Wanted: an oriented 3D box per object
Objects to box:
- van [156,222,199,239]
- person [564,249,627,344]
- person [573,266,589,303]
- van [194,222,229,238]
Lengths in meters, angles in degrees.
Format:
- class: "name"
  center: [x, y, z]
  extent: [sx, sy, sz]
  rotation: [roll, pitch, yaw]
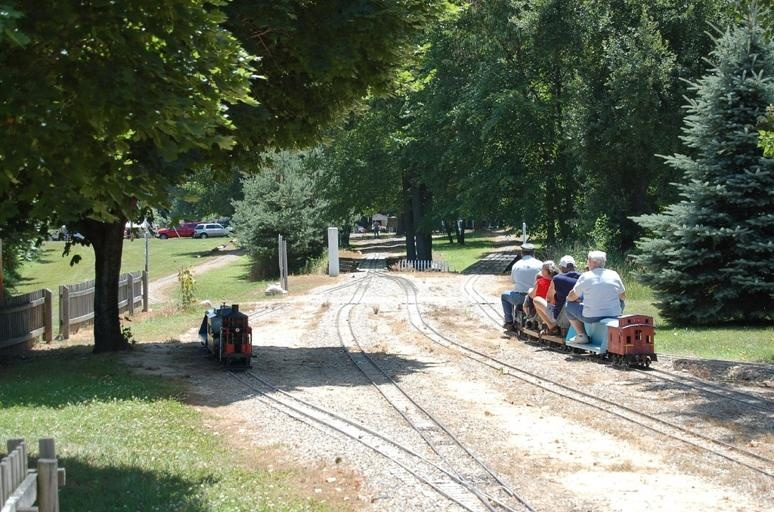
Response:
- class: "van"
  center: [-23.315, -2.965, 103.097]
  extent: [3.971, 1.517, 4.482]
  rotation: [-2, 7, -25]
- class: "person"
  center: [5.413, 1.140, 24.130]
  extent: [1.439, 2.545, 1.093]
  rotation: [4, 7, 23]
- class: "person"
  center: [5.118, 0.743, 24.364]
  extent: [0.596, 0.922, 0.306]
  rotation: [-2, -7, -22]
- class: "van"
  center: [-18.774, -2.843, 99.561]
  extent: [3.333, 1.466, 1.650]
  rotation: [-3, 7, -1]
